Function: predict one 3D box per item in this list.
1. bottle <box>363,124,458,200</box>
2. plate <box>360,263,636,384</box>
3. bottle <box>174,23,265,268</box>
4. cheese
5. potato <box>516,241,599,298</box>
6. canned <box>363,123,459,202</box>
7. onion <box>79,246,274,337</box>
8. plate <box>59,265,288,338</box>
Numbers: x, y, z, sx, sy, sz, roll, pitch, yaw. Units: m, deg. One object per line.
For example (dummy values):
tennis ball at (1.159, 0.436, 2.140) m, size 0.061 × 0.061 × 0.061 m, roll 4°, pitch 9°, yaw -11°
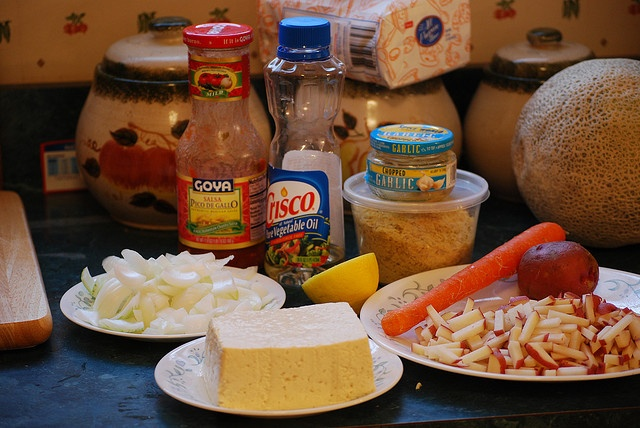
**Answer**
bottle at (0.153, -0.102, 0.957) m, size 0.125 × 0.095 × 0.123 m, roll -1°, pitch 16°, yaw 0°
plate at (0.227, 0.086, 0.857) m, size 0.385 × 0.156 × 0.244 m, roll -5°, pitch 22°, yaw -9°
bottle at (-0.164, -0.107, 1.017) m, size 0.133 × 0.445 × 0.133 m, roll 0°, pitch 16°, yaw 0°
cheese at (-0.043, 0.196, 0.795) m, size 0.226 × 0.087 × 0.170 m, roll -1°, pitch 9°, yaw -20°
potato at (0.377, 0.093, 0.900) m, size 0.096 × 0.104 × 0.103 m, roll -19°, pitch 10°, yaw -26°
canned at (0.151, -0.109, 0.916) m, size 0.108 × 0.143 × 0.114 m, roll 6°, pitch 18°, yaw 10°
onion at (-0.237, 0.070, 0.881) m, size 0.269 × 0.127 × 0.188 m, roll -15°, pitch 24°, yaw -32°
plate at (-0.238, 0.099, 0.888) m, size 0.207 × 0.103 × 0.326 m, roll 7°, pitch 15°, yaw 42°
